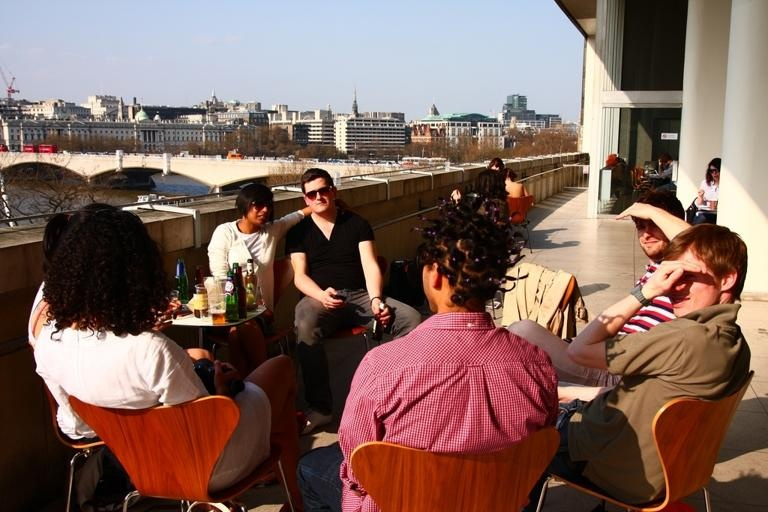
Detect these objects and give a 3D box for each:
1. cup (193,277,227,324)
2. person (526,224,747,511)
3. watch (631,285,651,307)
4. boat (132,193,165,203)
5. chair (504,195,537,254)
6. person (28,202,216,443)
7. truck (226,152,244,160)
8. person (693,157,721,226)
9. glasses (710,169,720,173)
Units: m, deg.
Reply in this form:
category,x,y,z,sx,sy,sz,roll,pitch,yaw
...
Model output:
category,x,y,z,sx,sy,sz,roll,pitch,yaw
cup,-1.068,0.284,3.821,0.313,0.341,0.191,1,-3,-19
person,1.165,0.468,2.619,0.770,1.178,0.474,3,11,33
watch,1.153,0.179,2.659,0.049,0.078,0.071,-37,33,3
boat,-1.976,-0.488,5.050,0.192,0.067,0.466,-5,10,-15
chair,2.377,-0.578,10.697,0.649,0.862,0.660,2,-1,-26
person,-1.215,0.342,2.650,0.828,1.103,0.358,2,10,24
truck,-20.376,-13.643,80.850,1.507,1.289,23.762,-5,10,-13
person,4.996,-1.014,9.160,0.310,0.924,2.314,2,11,28
glasses,5.153,-1.305,9.181,0.090,0.058,0.086,-3,10,1
